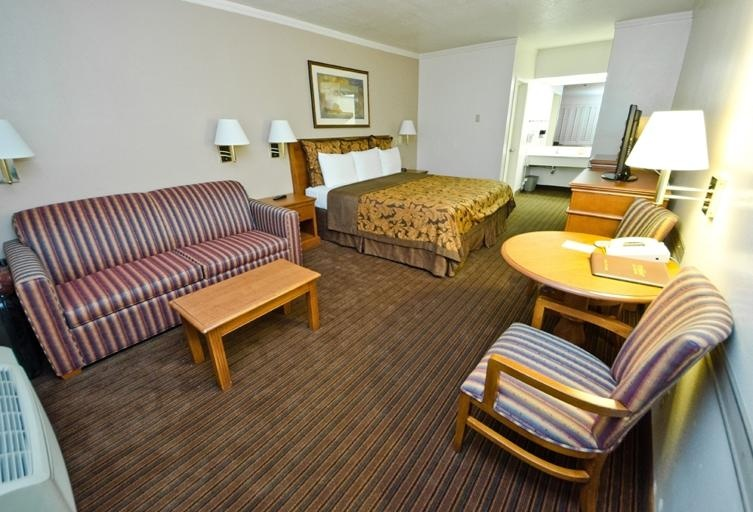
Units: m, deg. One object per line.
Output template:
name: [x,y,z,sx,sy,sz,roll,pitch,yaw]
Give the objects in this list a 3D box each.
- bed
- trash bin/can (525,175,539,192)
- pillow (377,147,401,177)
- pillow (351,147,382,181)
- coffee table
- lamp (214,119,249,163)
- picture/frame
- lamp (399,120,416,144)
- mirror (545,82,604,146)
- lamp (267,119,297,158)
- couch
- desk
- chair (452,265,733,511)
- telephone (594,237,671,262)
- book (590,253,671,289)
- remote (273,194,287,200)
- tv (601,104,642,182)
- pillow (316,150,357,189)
bed: [0.492,-0.506,5.572,1.858,0.743,1.697,13,25,31]
trash bin/can: [2.813,-1.329,8.156,0.276,0.273,0.340,5,17,24]
pillow: [0.189,-1.353,6.342,0.128,0.394,0.434,-1,20,34]
pillow: [-0.147,-1.205,5.994,0.139,0.418,0.464,-4,10,41]
coffee table: [-1.028,0.514,3.807,0.662,0.591,1.096,17,32,42]
lamp: [-1.546,-1.224,4.764,0.357,0.413,0.383,5,12,43]
picture/frame: [-0.535,-2.151,5.859,0.036,0.699,1.015,12,22,35]
lamp: [0.474,-2.004,7.160,0.280,0.400,0.253,22,43,30]
mirror: [3.500,-2.570,7.657,0.964,1.284,0.124,-5,17,-16]
lamp: [-1.117,-1.321,5.178,0.237,0.396,0.261,5,12,10]
couch: [-1.948,0.245,3.758,0.657,0.736,1.496,24,35,37]
desk: [1.503,0.021,3.421,0.912,0.503,0.910,16,43,26]
chair: [1.394,0.664,3.310,1.592,1.907,1.397,20,38,33]
telephone: [1.871,-0.060,3.230,0.341,0.101,0.241,4,18,31]
book: [1.775,0.112,3.103,0.282,0.054,0.503,-19,25,-40]
remote: [-1.143,-0.695,5.306,0.113,0.030,0.101,4,18,12]
tv: [2.510,-1.131,4.578,0.325,0.726,1.040,9,12,22]
pillow: [-0.514,-1.074,5.619,0.136,0.450,0.499,-10,5,44]
